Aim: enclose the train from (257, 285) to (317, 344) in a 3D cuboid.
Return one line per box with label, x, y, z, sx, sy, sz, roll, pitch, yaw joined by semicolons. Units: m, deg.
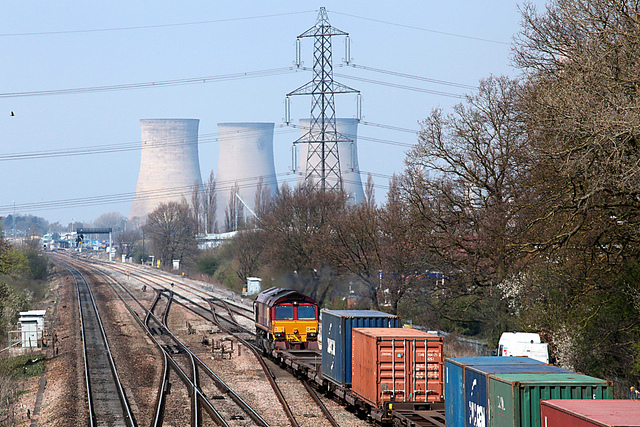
train;-2.070;6.285;52.627;3.130;4.134;10.400;0;-2;-8
